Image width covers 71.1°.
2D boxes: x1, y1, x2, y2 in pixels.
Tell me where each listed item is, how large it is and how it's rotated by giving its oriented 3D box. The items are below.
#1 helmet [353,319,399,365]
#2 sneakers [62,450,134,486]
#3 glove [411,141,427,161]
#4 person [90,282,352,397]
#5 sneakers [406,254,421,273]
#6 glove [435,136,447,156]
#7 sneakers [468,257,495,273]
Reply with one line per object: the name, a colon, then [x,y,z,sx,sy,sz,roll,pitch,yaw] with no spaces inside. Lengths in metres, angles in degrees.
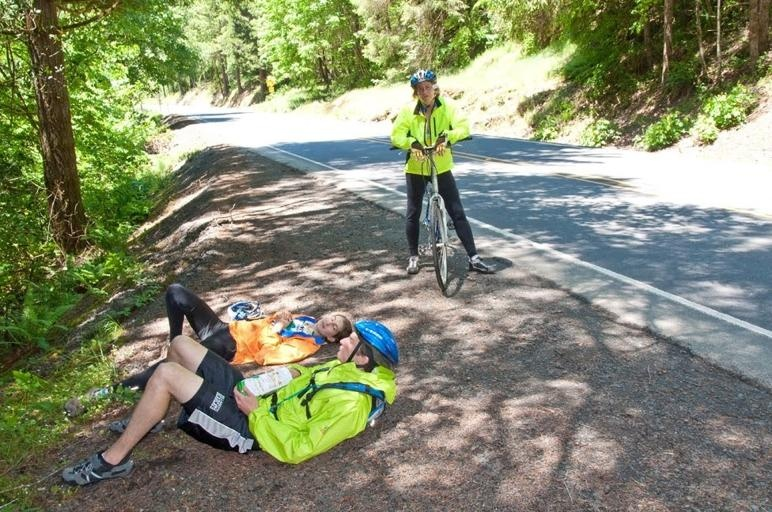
helmet: [-0.033,0.841,5.396,0.499,0.197,0.354,33,28,-21]
sneakers: [-2.673,1.958,5.008,0.583,0.212,0.190,0,14,-27]
glove: [0.437,-1.429,7.424,0.187,0.260,0.085,-9,5,-13]
person: [-1.940,1.062,6.488,2.984,1.232,1.041,5,-12,-24]
sneakers: [0.424,0.123,8.184,0.250,0.261,0.653,0,3,5]
glove: [0.766,-1.498,7.390,0.175,0.238,0.068,-6,24,-28]
sneakers: [1.464,0.128,7.946,0.449,0.208,0.174,8,15,42]
